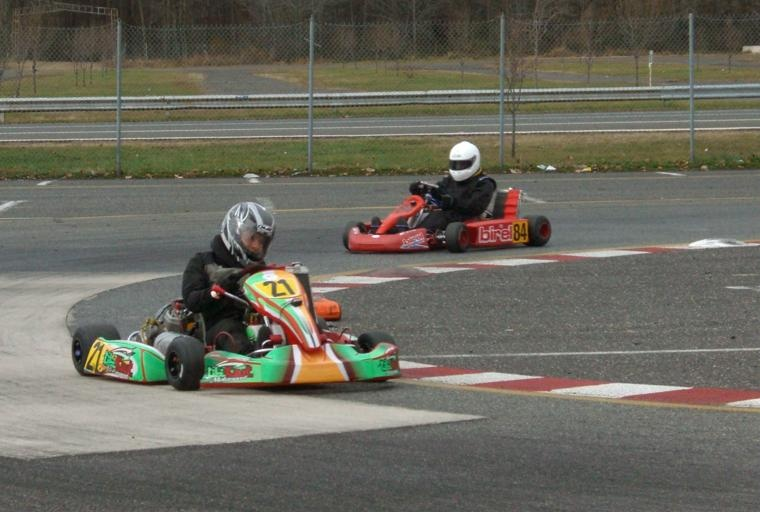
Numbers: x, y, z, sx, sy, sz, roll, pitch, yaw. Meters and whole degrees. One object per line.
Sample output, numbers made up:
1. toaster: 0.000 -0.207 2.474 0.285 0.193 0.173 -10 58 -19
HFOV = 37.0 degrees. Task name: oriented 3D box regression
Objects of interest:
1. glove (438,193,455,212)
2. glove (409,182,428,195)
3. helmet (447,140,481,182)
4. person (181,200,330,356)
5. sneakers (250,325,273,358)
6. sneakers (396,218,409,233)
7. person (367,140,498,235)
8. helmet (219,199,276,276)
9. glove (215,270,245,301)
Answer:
1. glove: 0.885 -0.742 15.202 0.204 0.159 0.256 25 7 -8
2. glove: 0.533 -0.938 15.339 0.316 0.192 0.195 2 7 20
3. helmet: 1.161 -1.350 15.670 0.440 0.482 0.586 4 18 27
4. person: -1.323 0.158 9.923 0.797 1.248 0.665 -1 7 -9
5. sneakers: -0.997 0.712 9.663 0.185 0.243 0.239 -4 -32 -2
6. sneakers: 0.297 -0.419 15.074 0.145 0.174 0.161 3 3 1
7. person: 0.716 -0.876 15.359 1.886 0.976 1.041 -22 27 -37
8. helmet: -1.143 -0.242 10.182 0.476 0.495 0.579 7 17 -36
9. glove: -1.307 0.227 9.824 0.283 0.256 0.250 -1 7 -7
